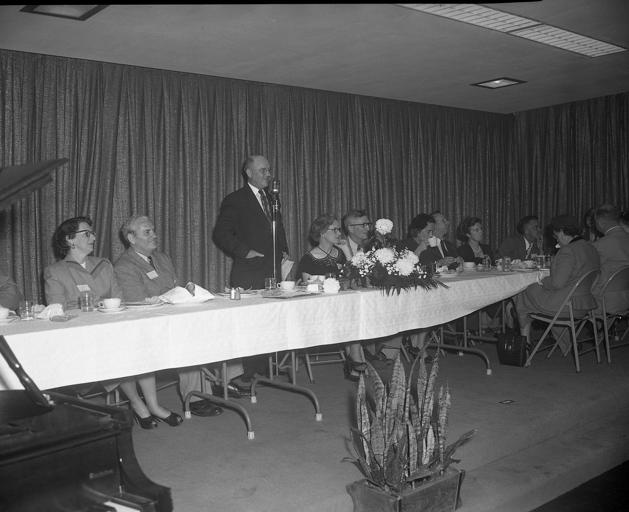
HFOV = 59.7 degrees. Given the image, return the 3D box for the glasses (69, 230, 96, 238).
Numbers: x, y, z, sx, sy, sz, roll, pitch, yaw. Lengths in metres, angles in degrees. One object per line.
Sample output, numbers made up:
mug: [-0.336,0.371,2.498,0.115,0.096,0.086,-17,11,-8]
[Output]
glasses: [-1.454,-0.140,3.455,0.072,0.052,0.166,0,8,36]

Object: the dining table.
dining table: [-0.096,0.392,3.372,3.171,0.541,0.279,-10,9,-37]

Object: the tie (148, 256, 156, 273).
tie: [-1.124,0.050,3.774,0.032,0.139,0.039,-14,-23,-29]

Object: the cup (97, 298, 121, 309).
cup: [-1.078,0.262,2.908,0.070,0.040,0.089,-4,-8,31]

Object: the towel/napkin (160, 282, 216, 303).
towel/napkin: [-0.736,0.226,3.156,0.160,0.062,0.162,4,4,34]

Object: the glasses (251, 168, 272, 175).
glasses: [-0.409,-0.662,4.310,0.121,0.052,0.091,-6,2,12]

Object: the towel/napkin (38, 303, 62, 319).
towel/napkin: [-1.330,0.282,2.772,0.080,0.044,0.100,2,2,10]

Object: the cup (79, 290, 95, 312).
cup: [-1.269,0.256,3.044,0.081,0.131,0.079,-1,11,0]

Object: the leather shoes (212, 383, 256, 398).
leather shoes: [-0.617,1.024,4.144,0.178,0.090,0.251,4,-1,-1]

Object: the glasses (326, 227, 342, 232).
glasses: [0.154,-0.215,4.496,0.103,0.040,0.027,-8,8,-29]

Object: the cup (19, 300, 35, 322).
cup: [-1.456,0.275,2.765,0.068,0.086,0.179,-9,8,-27]

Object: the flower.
flower: [0.586,0.017,3.932,0.598,0.432,0.589,-1,8,-24]

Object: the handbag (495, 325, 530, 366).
handbag: [1.786,0.821,4.995,0.291,0.341,0.262,-2,4,-45]

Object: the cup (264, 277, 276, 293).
cup: [-0.291,0.190,3.584,0.082,0.083,0.083,0,7,0]

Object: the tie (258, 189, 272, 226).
tie: [-0.404,-0.412,4.503,0.189,0.258,0.059,-7,5,-22]

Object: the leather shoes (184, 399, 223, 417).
leather shoes: [-0.759,1.055,3.803,0.167,0.062,0.104,1,3,20]
